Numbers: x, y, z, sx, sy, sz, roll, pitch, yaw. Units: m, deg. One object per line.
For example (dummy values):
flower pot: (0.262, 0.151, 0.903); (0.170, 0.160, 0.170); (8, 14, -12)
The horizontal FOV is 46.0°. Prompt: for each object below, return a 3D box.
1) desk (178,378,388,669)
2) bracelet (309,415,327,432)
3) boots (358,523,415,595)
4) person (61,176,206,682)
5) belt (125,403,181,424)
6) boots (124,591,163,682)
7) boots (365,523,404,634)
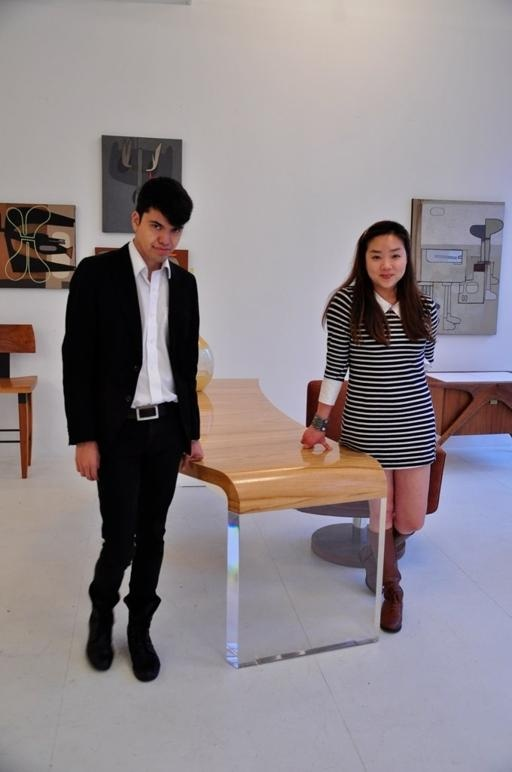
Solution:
desk: (0.072, 0.458, 2.207); (0.677, 0.688, 1.127); (1, 4, -7)
bracelet: (0.221, 0.134, 2.068); (0.056, 0.043, 0.056); (4, 14, -28)
boots: (0.523, 0.682, 2.312); (0.094, 0.219, 0.231); (12, -6, 11)
person: (-0.319, 0.151, 1.653); (0.338, 1.364, 0.345); (1, 5, -6)
belt: (-0.269, 0.068, 1.592); (0.038, 0.044, 0.157); (5, 5, 38)
boots: (-0.308, 0.743, 1.752); (0.081, 0.164, 0.228); (2, 9, -17)
boots: (0.460, 0.718, 2.115); (0.081, 0.167, 0.239); (7, 40, -18)
